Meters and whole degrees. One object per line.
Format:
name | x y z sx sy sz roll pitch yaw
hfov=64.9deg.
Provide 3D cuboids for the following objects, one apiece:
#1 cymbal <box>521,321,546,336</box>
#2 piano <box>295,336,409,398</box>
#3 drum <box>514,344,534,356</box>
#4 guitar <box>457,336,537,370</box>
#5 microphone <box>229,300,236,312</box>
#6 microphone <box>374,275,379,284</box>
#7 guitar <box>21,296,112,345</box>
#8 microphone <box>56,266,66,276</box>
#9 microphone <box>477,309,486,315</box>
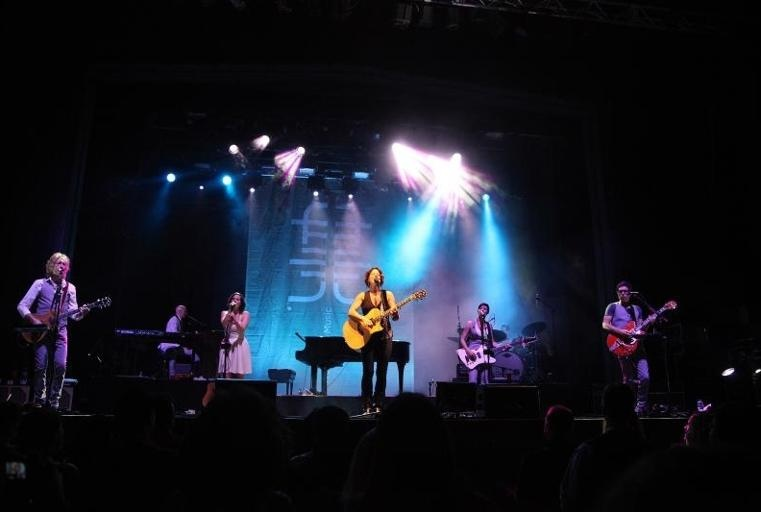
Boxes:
cymbal | 3.952 1.889 15.504 0.557 0.346 0.645 -2 -12 13
piano | -0.564 2.000 12.027 2.103 1.235 1.544 2 -17 -5
drum | 3.735 2.453 15.558 0.375 0.128 0.542 -3 -2 7
guitar | 2.768 2.432 14.899 1.347 0.795 1.085 9 -14 -34
microphone | -3.184 1.108 12.957 0.177 0.179 0.143 0 3 -12
microphone | -0.055 0.441 10.724 0.085 0.100 0.033 6 -15 -12
guitar | -5.480 1.093 10.457 1.366 0.910 0.967 9 -14 -32
microphone | -5.485 0.293 10.312 0.133 0.099 0.053 21 -61 -17
microphone | 2.495 1.395 14.724 0.151 0.115 0.133 1 -7 8
